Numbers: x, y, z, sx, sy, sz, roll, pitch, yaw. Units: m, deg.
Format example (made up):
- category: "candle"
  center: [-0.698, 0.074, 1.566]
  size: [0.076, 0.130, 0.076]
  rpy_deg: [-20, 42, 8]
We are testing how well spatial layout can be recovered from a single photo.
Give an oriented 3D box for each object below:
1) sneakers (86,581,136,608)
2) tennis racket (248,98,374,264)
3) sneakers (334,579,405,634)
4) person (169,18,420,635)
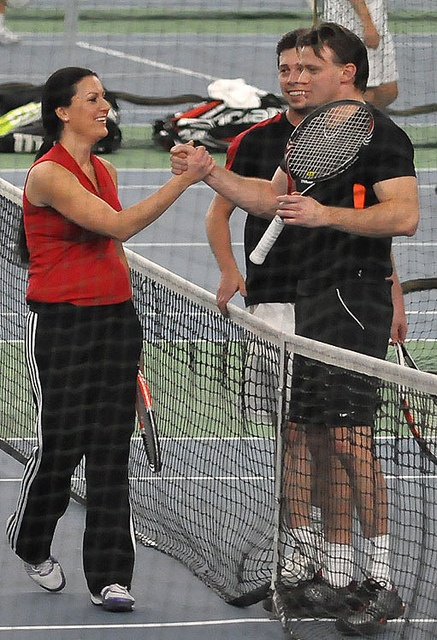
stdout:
- category: "sneakers"
  center: [-0.434, 1.110, 3.470]
  size: [0.089, 0.066, 0.175]
  rpy_deg: [7, -10, -41]
- category: "tennis racket"
  center: [0.335, -0.554, 3.277]
  size: [0.313, 0.723, 0.075]
  rpy_deg: [32, 4, 19]
- category: "sneakers"
  center: [0.562, 1.057, 3.166]
  size: [0.228, 0.190, 0.139]
  rpy_deg: [-4, 8, -22]
- category: "person"
  center: [0.450, -0.003, 3.326]
  size: [0.550, 2.256, 0.842]
  rpy_deg: [-5, 9, -24]
